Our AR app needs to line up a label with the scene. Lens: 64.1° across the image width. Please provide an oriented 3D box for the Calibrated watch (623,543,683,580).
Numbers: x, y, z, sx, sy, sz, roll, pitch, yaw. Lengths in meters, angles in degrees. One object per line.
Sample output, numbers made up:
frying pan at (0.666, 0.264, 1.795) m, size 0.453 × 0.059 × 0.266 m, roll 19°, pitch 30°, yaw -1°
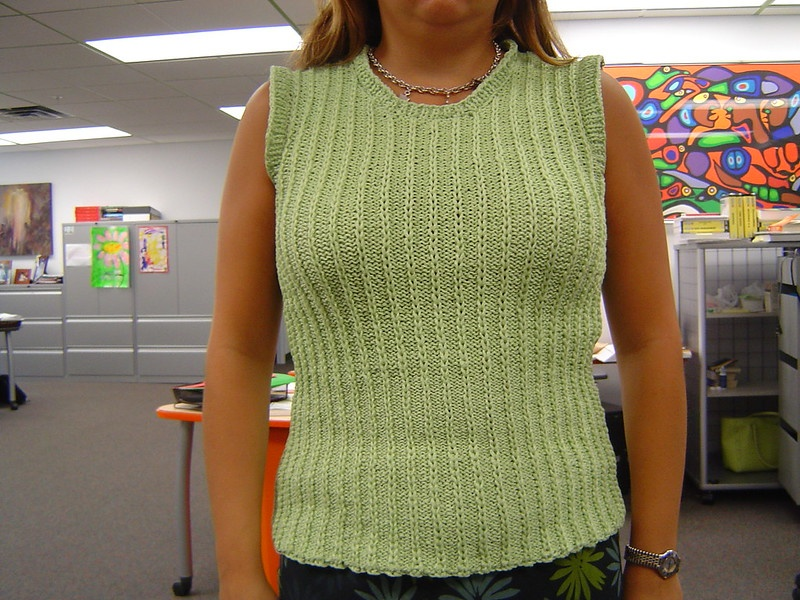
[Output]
Calibrated watch at (0.378, 0.382, 0.959) m, size 0.069 × 0.041 × 0.073 m, roll 7°, pitch -9°, yaw 36°

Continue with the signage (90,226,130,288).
signage at (-3.286, -0.500, 7.241) m, size 0.469 × 0.675 × 0.074 m, roll -3°, pitch 0°, yaw 11°

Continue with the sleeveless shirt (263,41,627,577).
sleeveless shirt at (0.060, -0.010, 0.958) m, size 0.513 × 0.768 × 0.185 m, roll -3°, pitch 0°, yaw 9°

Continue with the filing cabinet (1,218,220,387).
filing cabinet at (-3.133, 0.073, 7.002) m, size 2.152 × 1.374 × 0.679 m, roll -1°, pitch -6°, yaw 6°
